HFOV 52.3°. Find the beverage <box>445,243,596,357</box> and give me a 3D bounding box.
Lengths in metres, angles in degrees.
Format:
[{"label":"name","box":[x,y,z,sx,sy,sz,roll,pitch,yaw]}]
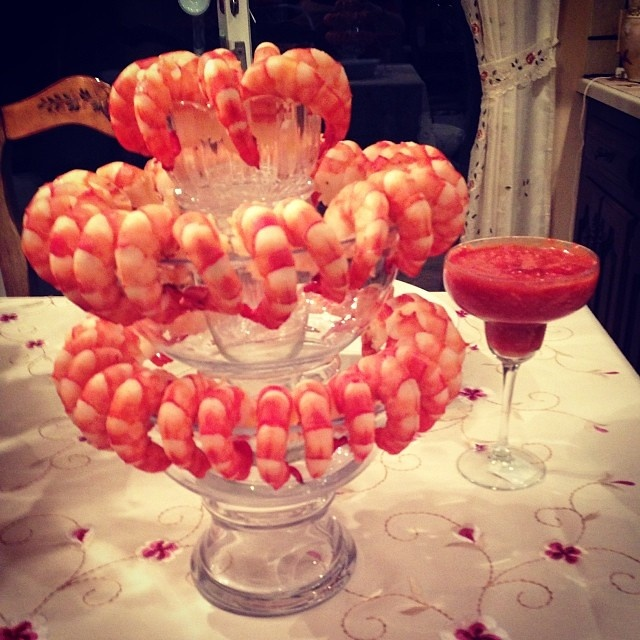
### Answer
[{"label":"beverage","box":[0.229,-0.019,0.751,0.184,0.112,0.166,3,25,15]}]
